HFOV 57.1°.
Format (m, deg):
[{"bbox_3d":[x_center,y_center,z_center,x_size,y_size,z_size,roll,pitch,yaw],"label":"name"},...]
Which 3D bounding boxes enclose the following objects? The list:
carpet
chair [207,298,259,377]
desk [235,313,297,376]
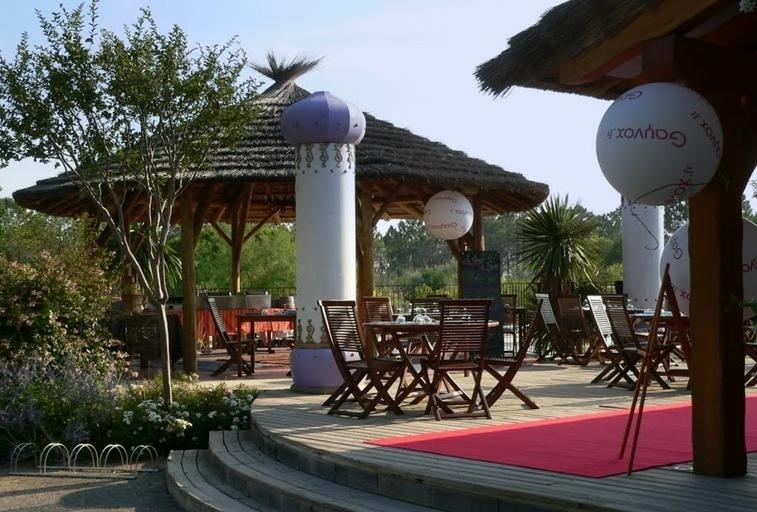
[{"bbox_3d":[1.893,1.860,6.966,3.492,0.212,2.000,-3,-6,-18],"label":"carpet"},{"bbox_3d":[-2.725,1.484,12.896,0.643,1.075,0.536,-18,0,22],"label":"chair"},{"bbox_3d":[-2.097,1.665,13.527,1.192,1.300,1.267,2,5,5],"label":"desk"}]
